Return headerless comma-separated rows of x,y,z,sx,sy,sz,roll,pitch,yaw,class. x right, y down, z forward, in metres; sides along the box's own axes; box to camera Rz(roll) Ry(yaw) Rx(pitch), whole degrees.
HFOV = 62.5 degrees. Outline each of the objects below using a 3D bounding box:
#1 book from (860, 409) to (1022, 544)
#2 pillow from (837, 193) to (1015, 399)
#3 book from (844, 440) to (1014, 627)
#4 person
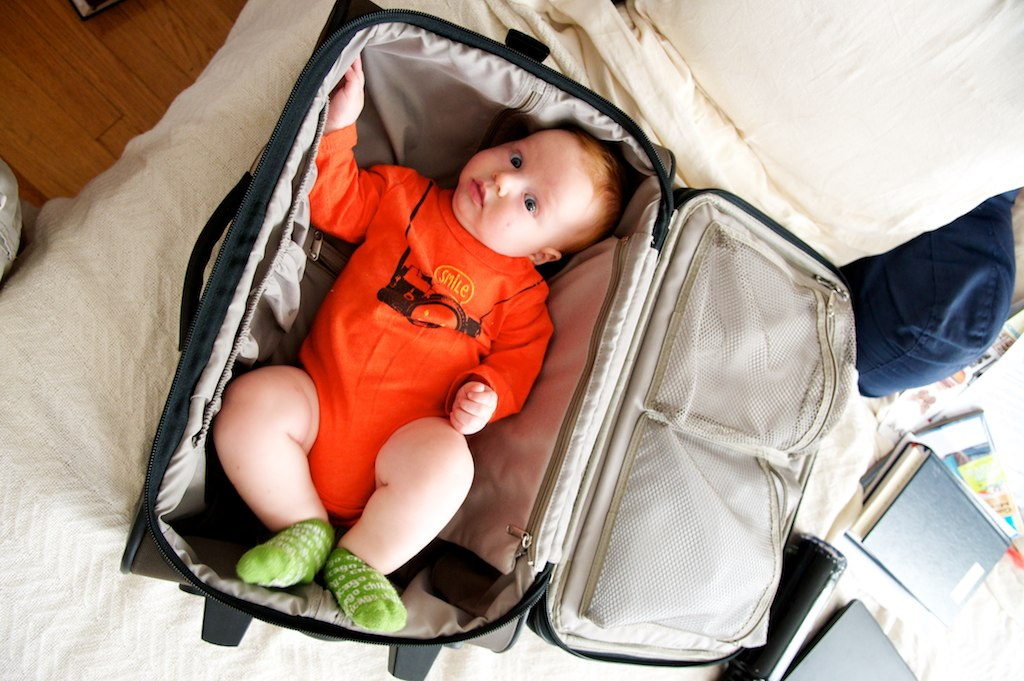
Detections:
1.159,0.345,2.274,0.351,0.331,0.080,58,-7,0,book
0.924,-0.121,1.906,0.220,0.441,0.409,24,-9,-19,pillow
1.005,0.460,2.037,0.401,0.400,0.094,41,-13,-3,book
-0.218,0.005,1.743,0.635,1.115,0.339,21,-22,-4,person
